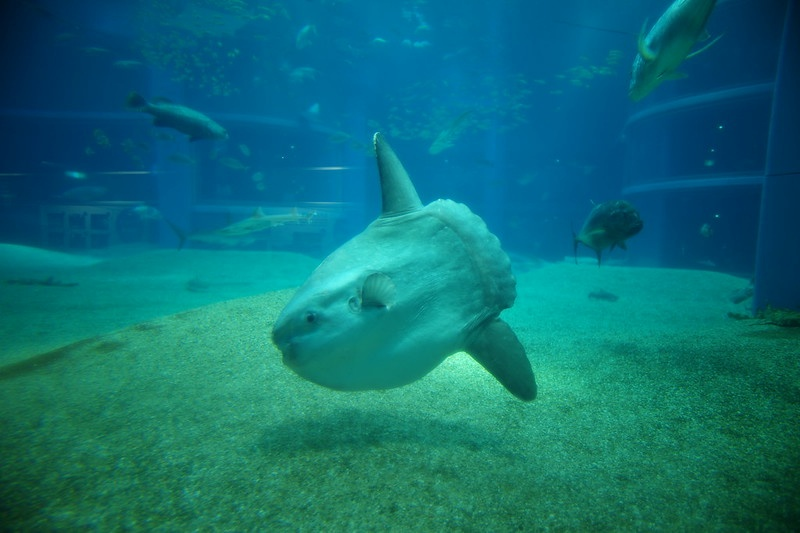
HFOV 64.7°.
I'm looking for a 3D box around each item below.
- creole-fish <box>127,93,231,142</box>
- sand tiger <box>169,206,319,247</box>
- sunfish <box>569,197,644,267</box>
[{"bbox_3d":[-7.471,-5.004,21.148,2.861,1.520,0.882,0,10,-12],"label":"creole-fish"},{"bbox_3d":[-7.097,-1.778,28.803,5.982,1.110,1.061,-9,26,-19],"label":"sand tiger"},{"bbox_3d":[6.111,-1.046,19.185,2.114,1.843,3.225,0,-1,0],"label":"sunfish"}]
